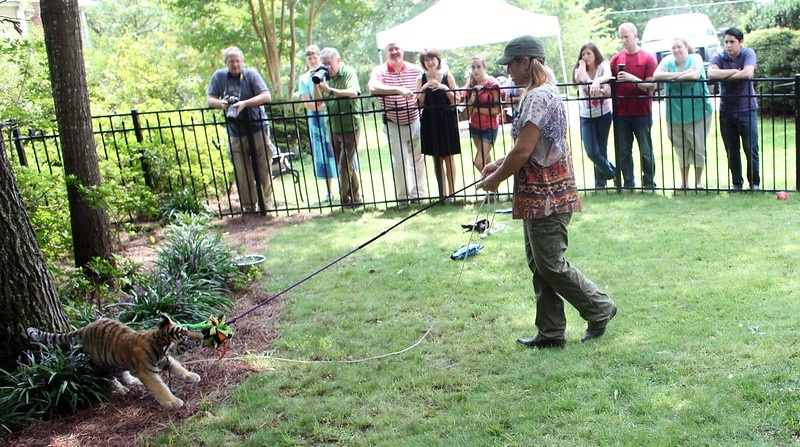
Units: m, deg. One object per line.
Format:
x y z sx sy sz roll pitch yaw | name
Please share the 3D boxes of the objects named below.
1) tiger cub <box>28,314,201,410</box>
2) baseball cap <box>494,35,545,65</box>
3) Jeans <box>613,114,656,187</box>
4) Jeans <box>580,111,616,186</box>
-3.099 1.552 6.946 1.860 1.043 1.566 -10 10 -38 | tiger cub
1.260 -1.851 6.585 0.624 0.279 0.402 -4 -3 -5 | baseball cap
4.217 -1.314 10.813 0.701 1.416 0.473 -1 -1 12 | Jeans
3.661 -1.376 11.080 0.521 1.423 0.515 -1 2 12 | Jeans
